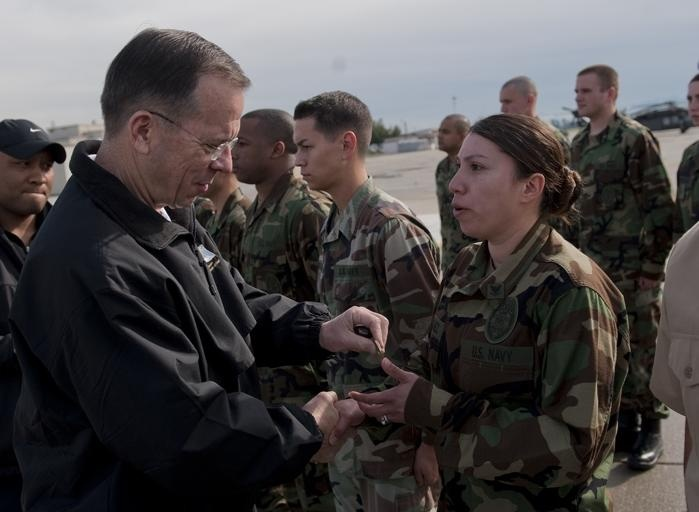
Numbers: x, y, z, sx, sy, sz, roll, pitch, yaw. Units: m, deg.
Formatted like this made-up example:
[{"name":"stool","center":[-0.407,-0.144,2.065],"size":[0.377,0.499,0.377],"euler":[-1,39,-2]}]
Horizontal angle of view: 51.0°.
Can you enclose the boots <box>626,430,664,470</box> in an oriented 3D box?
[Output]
[{"name":"boots","center":[2.190,1.429,5.387],"size":[0.148,0.181,0.409],"euler":[-1,-1,38]}]

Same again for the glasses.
[{"name":"glasses","center":[-0.669,-0.516,3.139],"size":[0.239,0.071,0.228],"euler":[37,-4,-20]}]
